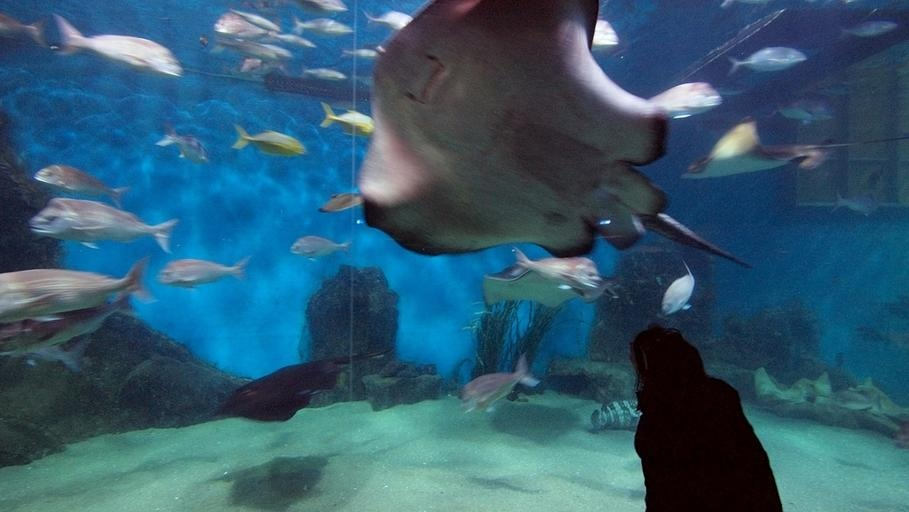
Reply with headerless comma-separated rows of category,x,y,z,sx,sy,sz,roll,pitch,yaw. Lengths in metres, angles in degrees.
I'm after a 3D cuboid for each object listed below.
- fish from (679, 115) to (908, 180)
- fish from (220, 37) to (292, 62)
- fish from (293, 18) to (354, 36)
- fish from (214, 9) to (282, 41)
fish,5.999,-1.924,12.130,3.614,0.501,1.453,-7,10,23
fish,-4.408,-4.704,14.933,1.784,0.203,0.569,7,-4,4
fish,-2.902,-5.033,14.421,1.305,0.421,0.329,-2,-7,18
fish,-4.504,-5.064,14.405,1.171,0.273,0.664,4,19,19
